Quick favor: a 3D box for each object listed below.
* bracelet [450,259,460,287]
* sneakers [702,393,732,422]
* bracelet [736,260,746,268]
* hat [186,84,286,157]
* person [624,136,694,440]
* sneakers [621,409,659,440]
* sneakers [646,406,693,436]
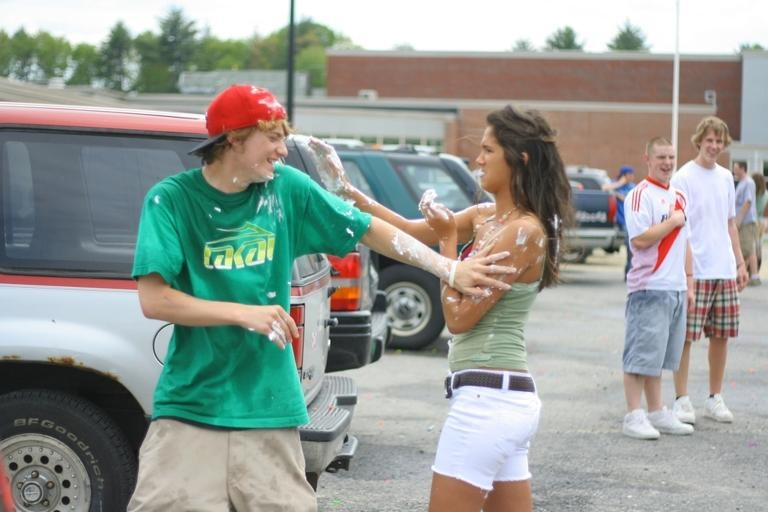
[{"bbox_3d":[0.446,0.107,7.429,0.049,0.129,0.104,13,17,-12],"label":"bracelet"},{"bbox_3d":[3.165,1.421,10.823,0.271,0.223,0.331,4,13,15],"label":"sneakers"},{"bbox_3d":[3.516,0.083,11.306,0.088,0.100,0.113,-1,4,-19],"label":"bracelet"},{"bbox_3d":[-0.955,-0.897,7.309,0.661,0.330,0.417,-16,4,22],"label":"hat"},{"bbox_3d":[2.484,0.300,10.384,0.681,2.660,0.859,6,14,24],"label":"person"},{"bbox_3d":[2.307,1.525,10.341,0.342,0.206,0.201,1,3,26],"label":"sneakers"},{"bbox_3d":[2.592,1.510,10.479,0.469,0.208,0.168,5,9,18],"label":"sneakers"}]
